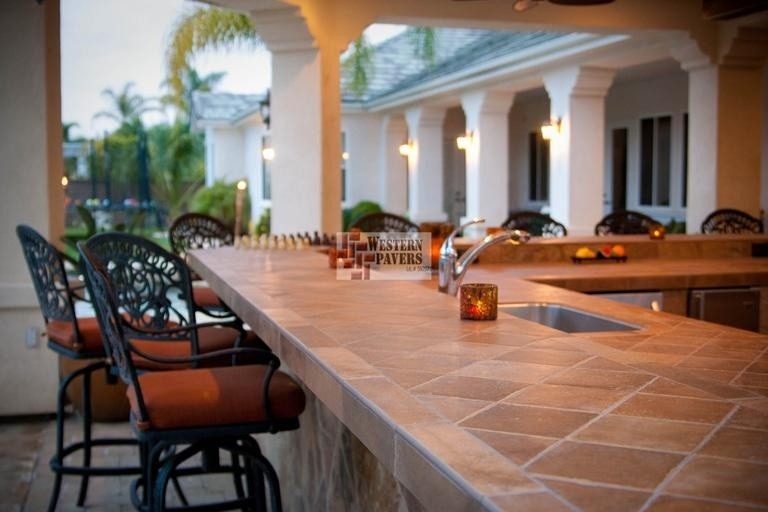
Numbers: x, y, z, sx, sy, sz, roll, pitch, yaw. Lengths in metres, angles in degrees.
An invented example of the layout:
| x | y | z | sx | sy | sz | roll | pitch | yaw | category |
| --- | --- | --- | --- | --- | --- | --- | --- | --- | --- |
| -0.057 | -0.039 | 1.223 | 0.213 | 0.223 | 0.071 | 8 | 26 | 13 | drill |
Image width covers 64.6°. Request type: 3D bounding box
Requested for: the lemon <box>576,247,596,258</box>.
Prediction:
| x | y | z | sx | sy | sz | roll | pitch | yaw | category |
| --- | --- | --- | --- | --- | --- | --- | --- | --- | --- |
| 1.480 | -0.020 | 4.465 | 0.105 | 0.065 | 0.106 | 0 | 0 | 34 | lemon |

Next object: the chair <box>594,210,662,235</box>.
| x | y | z | sx | sy | sz | roll | pitch | yaw | category |
| --- | --- | --- | --- | --- | --- | --- | --- | --- | --- |
| 2.564 | -0.350 | 6.491 | 0.563 | 0.240 | 0.505 | -2 | 2 | -6 | chair |

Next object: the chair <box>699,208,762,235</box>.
| x | y | z | sx | sy | sz | roll | pitch | yaw | category |
| --- | --- | --- | --- | --- | --- | --- | --- | --- | --- |
| 4.088 | -0.408 | 7.190 | 0.426 | 0.547 | 0.408 | -3 | 4 | -1 | chair |

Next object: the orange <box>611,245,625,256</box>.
| x | y | z | sx | sy | sz | roll | pitch | yaw | category |
| --- | --- | --- | --- | --- | --- | --- | --- | --- | --- |
| 1.729 | -0.038 | 4.517 | 0.078 | 0.081 | 0.117 | 2 | 5 | 32 | orange |
